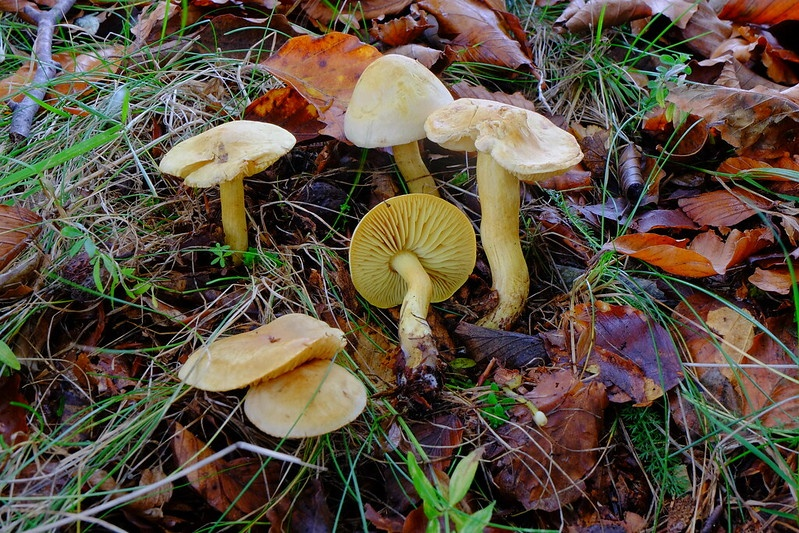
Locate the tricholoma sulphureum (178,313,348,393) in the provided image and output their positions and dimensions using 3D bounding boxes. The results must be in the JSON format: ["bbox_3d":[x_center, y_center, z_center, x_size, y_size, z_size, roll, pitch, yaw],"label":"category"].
[{"bbox_3d":[-0.720,0.437,3.051,0.715,0.611,0.251,-22,112,-35],"label":"tricholoma sulphureum"}]
